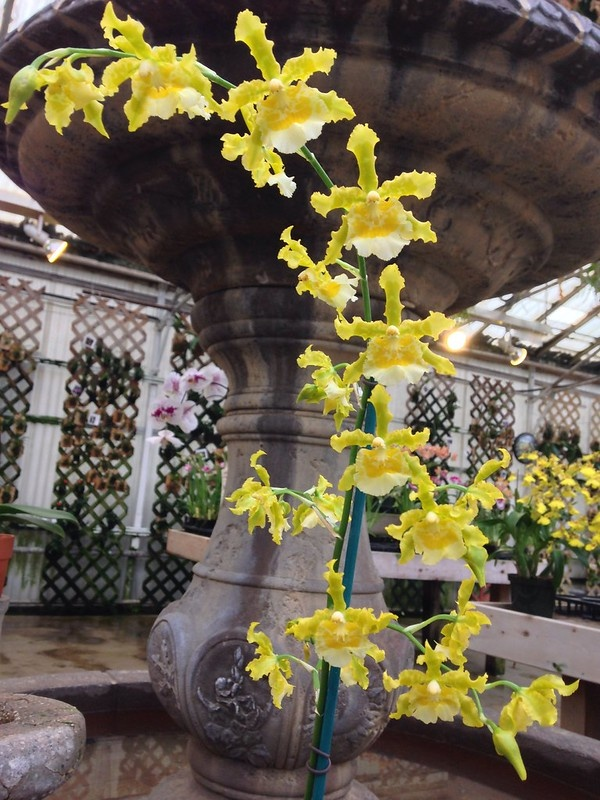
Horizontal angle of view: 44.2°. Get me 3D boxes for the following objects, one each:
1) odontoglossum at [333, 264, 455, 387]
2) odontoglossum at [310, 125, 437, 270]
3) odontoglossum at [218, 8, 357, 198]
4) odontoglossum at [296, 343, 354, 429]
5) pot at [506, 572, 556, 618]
[{"bbox_3d":[0.059,-0.046,0.502,0.074,0.086,0.079,8,-9,-6],"label":"odontoglossum"},{"bbox_3d":[0.047,-0.114,0.490,0.090,0.098,0.038,-10,-5,2],"label":"odontoglossum"},{"bbox_3d":[-0.010,-0.194,0.498,0.080,0.114,0.092,4,-9,20],"label":"odontoglossum"},{"bbox_3d":[0.016,-0.014,0.579,0.043,0.052,0.047,29,-15,-38],"label":"odontoglossum"},{"bbox_3d":[0.637,0.570,2.166,0.140,0.091,0.130,2,-14,0],"label":"pot"}]
